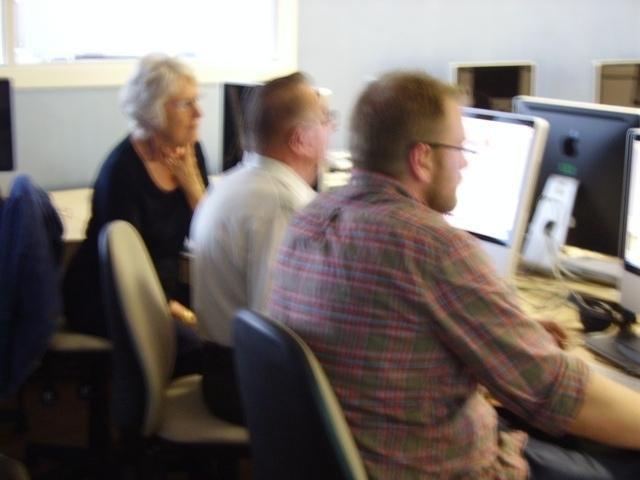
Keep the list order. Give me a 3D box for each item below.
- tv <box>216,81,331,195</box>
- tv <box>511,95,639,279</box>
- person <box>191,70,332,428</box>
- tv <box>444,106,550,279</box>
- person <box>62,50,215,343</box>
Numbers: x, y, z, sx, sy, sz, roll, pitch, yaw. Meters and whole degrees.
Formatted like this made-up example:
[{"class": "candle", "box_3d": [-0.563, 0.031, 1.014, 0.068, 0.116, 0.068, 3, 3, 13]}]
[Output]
[{"class": "tv", "box_3d": [-0.168, -0.383, 2.023, 0.220, 0.413, 0.399, 2, 8, 39]}, {"class": "tv", "box_3d": [0.790, -0.148, 1.664, 0.458, 0.650, 0.062, 10, 15, 35]}, {"class": "person", "box_3d": [-0.126, 0.033, 1.752, 0.522, 1.078, 0.584, -2, 5, -32]}, {"class": "tv", "box_3d": [0.545, -0.181, 1.660, 0.140, 0.458, 0.445, -3, 22, -13]}, {"class": "person", "box_3d": [-0.636, -0.023, 1.888, 0.474, 1.168, 0.404, -10, 23, -41]}]
